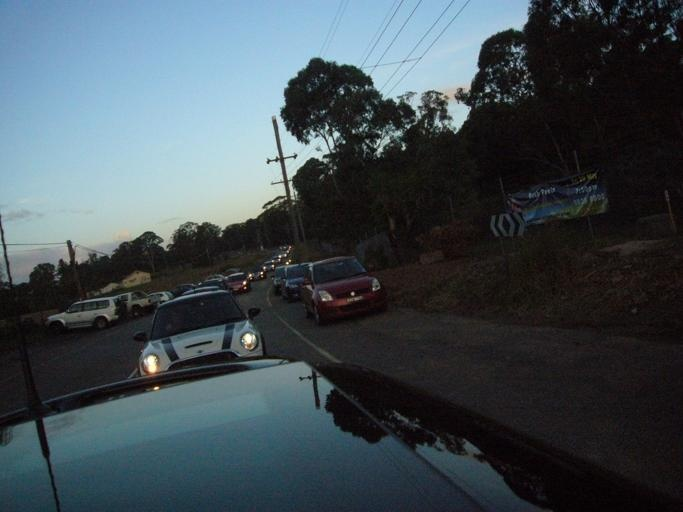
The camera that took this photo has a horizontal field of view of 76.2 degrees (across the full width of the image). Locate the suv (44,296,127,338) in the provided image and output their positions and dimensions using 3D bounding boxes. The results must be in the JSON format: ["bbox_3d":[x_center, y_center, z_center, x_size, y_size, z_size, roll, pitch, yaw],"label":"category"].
[{"bbox_3d":[-17.485,4.085,30.077,4.136,2.133,2.416,2,2,0],"label":"suv"}]
